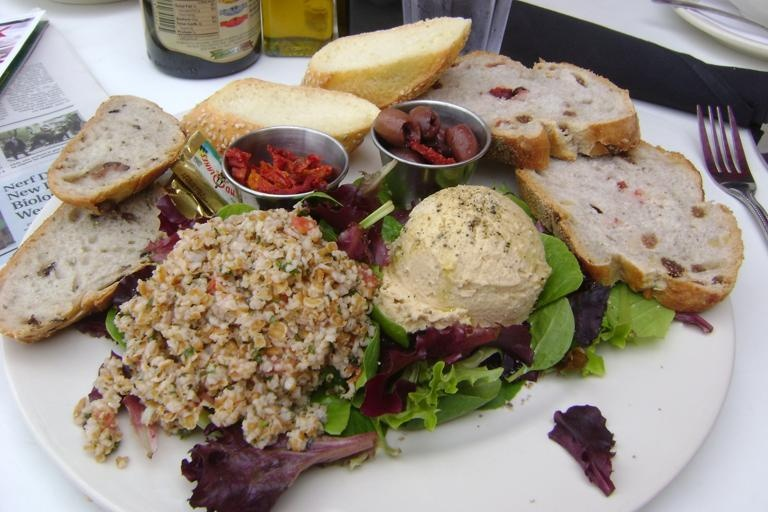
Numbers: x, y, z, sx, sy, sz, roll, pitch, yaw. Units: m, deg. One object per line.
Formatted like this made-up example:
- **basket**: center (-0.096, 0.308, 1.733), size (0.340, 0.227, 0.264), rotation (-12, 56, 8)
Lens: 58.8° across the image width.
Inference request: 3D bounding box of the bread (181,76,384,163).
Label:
- **bread**: center (-0.570, -0.792, 3.691), size (0.841, 0.297, 0.473), rotation (2, 29, 7)
